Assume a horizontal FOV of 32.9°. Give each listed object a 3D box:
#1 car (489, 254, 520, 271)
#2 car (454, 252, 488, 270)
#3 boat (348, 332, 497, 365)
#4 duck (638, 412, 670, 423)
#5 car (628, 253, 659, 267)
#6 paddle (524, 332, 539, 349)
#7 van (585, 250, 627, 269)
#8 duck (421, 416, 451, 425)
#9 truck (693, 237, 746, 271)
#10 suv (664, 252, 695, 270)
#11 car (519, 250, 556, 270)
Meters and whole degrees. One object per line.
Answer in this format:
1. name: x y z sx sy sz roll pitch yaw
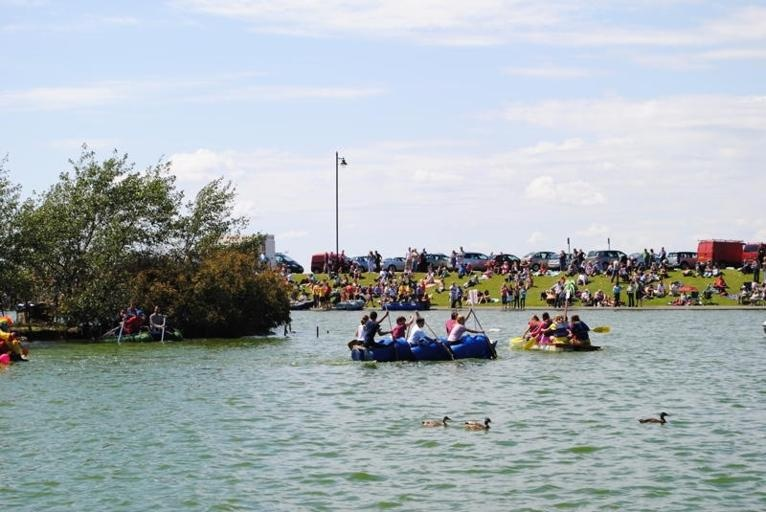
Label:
1. car: 9.202 0.503 98.493 2.988 1.232 1.682 -2 5 -20
2. car: 6.745 0.407 100.520 4.321 1.245 1.796 -2 6 -18
3. boat: 2.197 4.704 65.244 7.139 1.191 1.379 -2 12 -6
4. duck: 11.220 6.686 53.561 1.347 0.707 0.481 0 -9 5
5. car: 19.175 0.284 94.684 2.832 1.169 1.867 0 -1 -1
6. paddle: 8.008 4.614 69.484 0.691 0.655 0.772 -1 -15 8
7. van: 16.569 0.300 95.994 3.954 1.412 1.767 -4 6 -19
8. duck: 2.160 6.805 53.035 1.111 0.574 0.435 3 7 2
9. truck: 25.526 -0.043 96.927 5.334 2.604 2.885 -1 1 -18
10. suv: 23.067 0.357 100.196 3.490 1.354 1.825 -3 3 -27
11. car: 11.979 0.437 99.387 3.281 1.299 1.736 -4 5 -18
